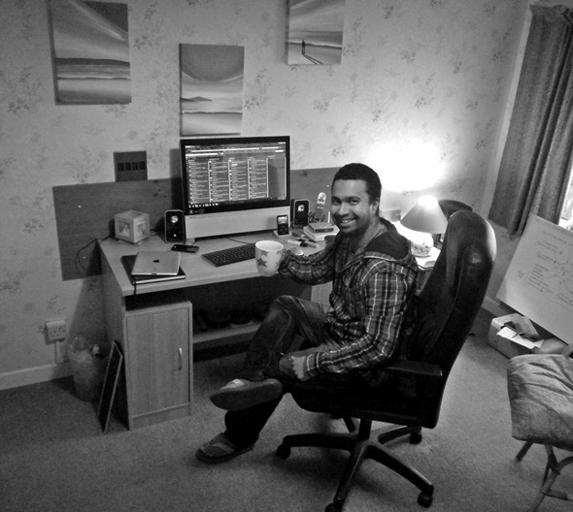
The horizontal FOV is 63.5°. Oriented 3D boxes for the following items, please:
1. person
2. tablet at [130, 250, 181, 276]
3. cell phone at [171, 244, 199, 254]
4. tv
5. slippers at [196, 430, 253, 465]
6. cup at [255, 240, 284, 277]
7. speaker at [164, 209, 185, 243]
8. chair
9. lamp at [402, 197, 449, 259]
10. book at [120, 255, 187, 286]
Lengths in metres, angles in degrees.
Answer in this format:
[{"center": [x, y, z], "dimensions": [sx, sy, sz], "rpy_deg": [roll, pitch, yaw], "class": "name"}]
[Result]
[{"center": [0.193, 0.111, 2.533], "dimensions": [1.125, 1.925, 1.033], "rpy_deg": [4, 16, -1], "class": "person"}, {"center": [-0.604, 0.035, 2.125], "dimensions": [0.193, 0.029, 0.274], "rpy_deg": [2, 22, -6], "class": "tablet"}, {"center": [-0.522, -0.042, 2.384], "dimensions": [0.105, 0.024, 0.063], "rpy_deg": [4, 25, -5], "class": "cell phone"}, {"center": [-0.308, -0.383, 2.531], "dimensions": [0.466, 0.449, 0.158], "rpy_deg": [-7, 17, -24], "class": "tv"}, {"center": [-0.282, 0.826, 2.078], "dimensions": [0.237, 0.105, 0.123], "rpy_deg": [-5, 16, -25], "class": "slippers"}, {"center": [-0.079, 0.004, 2.098], "dimensions": [0.097, 0.127, 0.164], "rpy_deg": [2, 25, 1], "class": "cup"}, {"center": [-0.592, -0.156, 2.445], "dimensions": [0.121, 0.239, 0.122], "rpy_deg": [0, 21, -9], "class": "speaker"}, {"center": [0.417, 0.217, 2.344], "dimensions": [1.014, 1.604, 0.967], "rpy_deg": [5, 16, 6], "class": "chair"}, {"center": [0.833, -0.170, 2.763], "dimensions": [0.226, 0.348, 0.230], "rpy_deg": [26, 40, 35], "class": "lamp"}, {"center": [-0.622, 0.051, 2.153], "dimensions": [0.260, 0.066, 0.299], "rpy_deg": [-7, 16, -26], "class": "book"}]
